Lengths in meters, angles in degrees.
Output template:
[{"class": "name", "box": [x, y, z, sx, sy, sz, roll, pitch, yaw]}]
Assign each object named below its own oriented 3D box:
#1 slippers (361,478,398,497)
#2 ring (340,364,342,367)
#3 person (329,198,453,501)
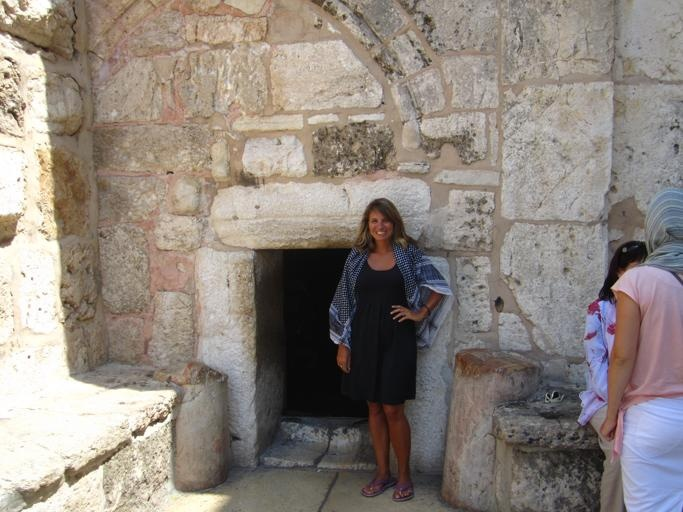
[{"class": "slippers", "box": [0.187, 1.235, 3.862, 0.183, 0.045, 0.072, -3, 3, -38]}, {"class": "ring", "box": [-0.002, 0.598, 3.922, 0.004, 0.015, 0.015, 8, -13, -35]}, {"class": "person", "box": [0.265, 0.487, 3.883, 0.646, 1.601, 0.299, 0, 0, -2]}]
